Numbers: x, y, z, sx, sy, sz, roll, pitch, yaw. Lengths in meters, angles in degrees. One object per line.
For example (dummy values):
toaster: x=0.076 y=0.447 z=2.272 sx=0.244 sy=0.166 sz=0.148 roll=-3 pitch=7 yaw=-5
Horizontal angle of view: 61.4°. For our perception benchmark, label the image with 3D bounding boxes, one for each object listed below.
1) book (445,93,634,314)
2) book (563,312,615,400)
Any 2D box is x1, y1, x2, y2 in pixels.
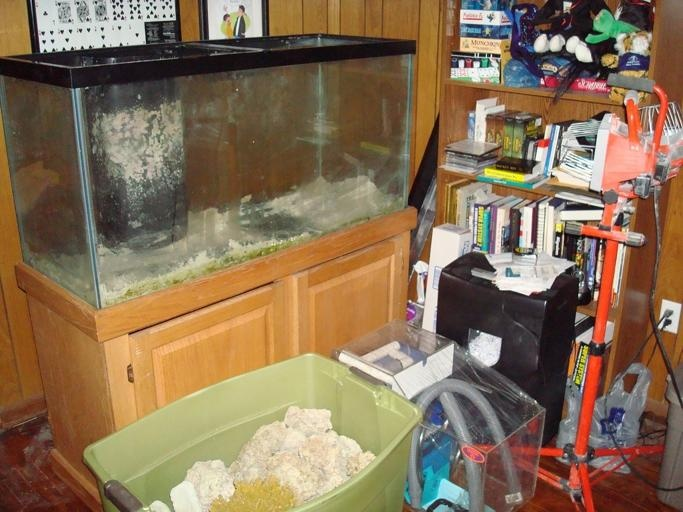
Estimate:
book: x=0.854 y=-0.214 z=2.452 sx=0.728 sy=0.733 sz=0.271 roll=26 pitch=39 yaw=31
book: x=1.024 y=0.415 z=2.381 sx=0.169 sy=0.300 sz=0.306 roll=18 pitch=30 yaw=24
